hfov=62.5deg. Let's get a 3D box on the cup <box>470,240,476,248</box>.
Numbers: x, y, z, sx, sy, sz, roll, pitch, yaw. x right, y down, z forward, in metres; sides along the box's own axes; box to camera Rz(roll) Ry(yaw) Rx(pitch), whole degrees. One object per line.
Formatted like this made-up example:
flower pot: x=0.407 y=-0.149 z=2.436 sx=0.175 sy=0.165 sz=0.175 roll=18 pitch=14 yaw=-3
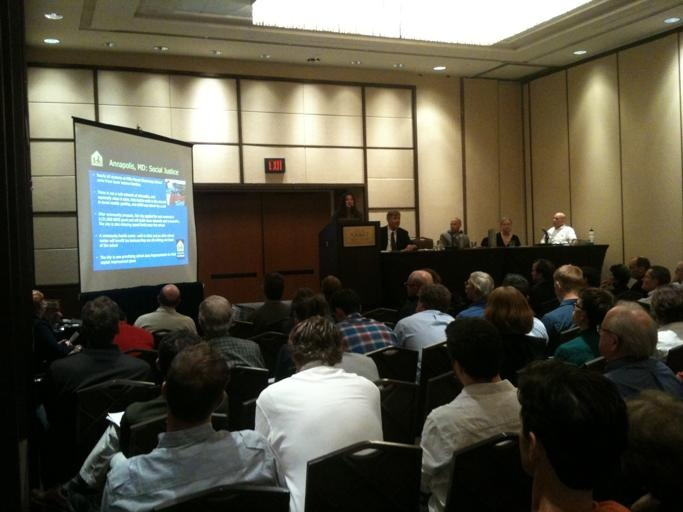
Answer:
cup: x=2.067 y=-0.184 z=8.909 sx=0.116 sy=0.145 sz=0.144 roll=0 pitch=-2 yaw=7
